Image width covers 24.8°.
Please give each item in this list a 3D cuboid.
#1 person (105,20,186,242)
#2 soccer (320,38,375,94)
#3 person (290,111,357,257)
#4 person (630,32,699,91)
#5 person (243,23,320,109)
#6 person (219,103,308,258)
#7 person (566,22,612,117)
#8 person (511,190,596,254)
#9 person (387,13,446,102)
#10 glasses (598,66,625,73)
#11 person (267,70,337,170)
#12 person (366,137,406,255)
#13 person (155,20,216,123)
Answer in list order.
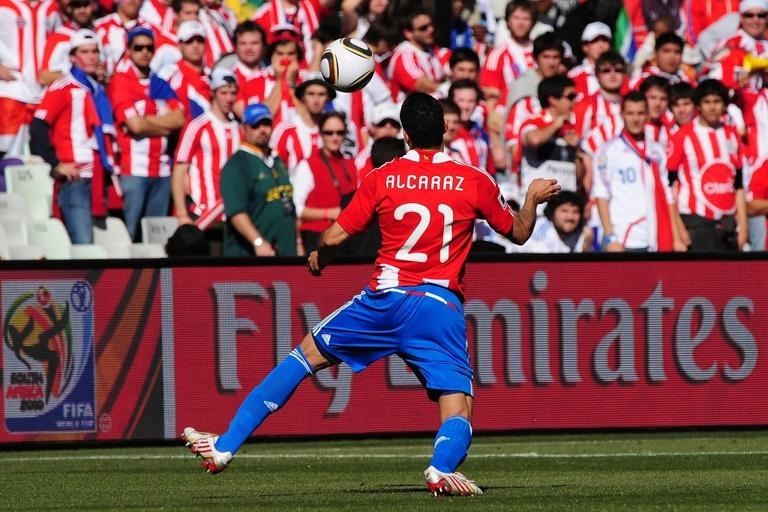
[{"bbox_3d":[-3.032,-1.469,21.899,0.716,2.960,0.643,1,-2,-29],"label":"person"},{"bbox_3d":[-0.423,-2.069,19.104,0.578,0.596,0.283,3,-3,-5],"label":"soccer"},{"bbox_3d":[-0.766,-0.888,21.723,0.621,1.934,0.743,2,0,10],"label":"person"},{"bbox_3d":[3.814,-2.576,23.309,1.185,1.035,0.631,0,2,-40],"label":"person"},{"bbox_3d":[-1.410,-2.506,22.799,0.665,1.154,0.379,3,-16,12],"label":"person"},{"bbox_3d":[-1.499,-0.723,20.856,0.699,2.159,0.948,-3,0,-19],"label":"person"},{"bbox_3d":[2.738,-2.492,23.231,0.407,1.338,0.409,0,1,-7],"label":"person"},{"bbox_3d":[2.197,-0.366,22.190,0.709,0.904,0.329,-1,16,9],"label":"person"},{"bbox_3d":[0.402,-2.599,23.726,0.524,1.441,1.124,1,1,6],"label":"person"},{"bbox_3d":[2.971,-2.388,22.762,0.329,0.085,0.080,3,-3,-2],"label":"glasses"},{"bbox_3d":[-1.068,-1.656,22.312,0.754,1.614,0.588,0,-4,29],"label":"person"},{"bbox_3d":[0.001,-0.705,20.985,0.456,1.325,0.480,0,12,-9],"label":"person"},{"bbox_3d":[-2.545,-2.256,22.621,0.561,1.411,0.626,1,-5,-11],"label":"person"}]
